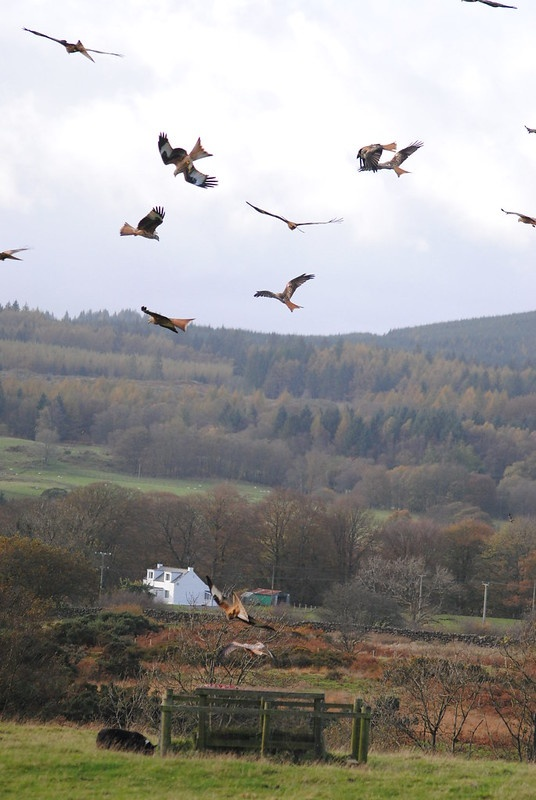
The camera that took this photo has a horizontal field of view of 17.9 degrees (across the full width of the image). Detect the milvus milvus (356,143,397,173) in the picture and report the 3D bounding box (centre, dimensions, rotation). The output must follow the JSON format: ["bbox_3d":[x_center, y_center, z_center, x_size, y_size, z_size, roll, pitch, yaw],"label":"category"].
[{"bbox_3d":[3.462,-7.828,55.800,0.664,0.867,0.939,7,-5,-40],"label":"milvus milvus"}]

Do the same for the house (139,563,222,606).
[{"bbox_3d":[-6.277,12.531,115.890,4.284,2.388,7.381,5,-4,-4],"label":"house"}]
